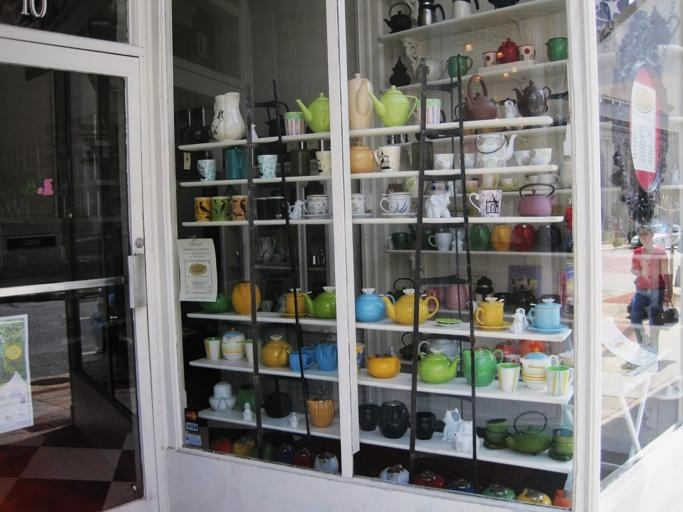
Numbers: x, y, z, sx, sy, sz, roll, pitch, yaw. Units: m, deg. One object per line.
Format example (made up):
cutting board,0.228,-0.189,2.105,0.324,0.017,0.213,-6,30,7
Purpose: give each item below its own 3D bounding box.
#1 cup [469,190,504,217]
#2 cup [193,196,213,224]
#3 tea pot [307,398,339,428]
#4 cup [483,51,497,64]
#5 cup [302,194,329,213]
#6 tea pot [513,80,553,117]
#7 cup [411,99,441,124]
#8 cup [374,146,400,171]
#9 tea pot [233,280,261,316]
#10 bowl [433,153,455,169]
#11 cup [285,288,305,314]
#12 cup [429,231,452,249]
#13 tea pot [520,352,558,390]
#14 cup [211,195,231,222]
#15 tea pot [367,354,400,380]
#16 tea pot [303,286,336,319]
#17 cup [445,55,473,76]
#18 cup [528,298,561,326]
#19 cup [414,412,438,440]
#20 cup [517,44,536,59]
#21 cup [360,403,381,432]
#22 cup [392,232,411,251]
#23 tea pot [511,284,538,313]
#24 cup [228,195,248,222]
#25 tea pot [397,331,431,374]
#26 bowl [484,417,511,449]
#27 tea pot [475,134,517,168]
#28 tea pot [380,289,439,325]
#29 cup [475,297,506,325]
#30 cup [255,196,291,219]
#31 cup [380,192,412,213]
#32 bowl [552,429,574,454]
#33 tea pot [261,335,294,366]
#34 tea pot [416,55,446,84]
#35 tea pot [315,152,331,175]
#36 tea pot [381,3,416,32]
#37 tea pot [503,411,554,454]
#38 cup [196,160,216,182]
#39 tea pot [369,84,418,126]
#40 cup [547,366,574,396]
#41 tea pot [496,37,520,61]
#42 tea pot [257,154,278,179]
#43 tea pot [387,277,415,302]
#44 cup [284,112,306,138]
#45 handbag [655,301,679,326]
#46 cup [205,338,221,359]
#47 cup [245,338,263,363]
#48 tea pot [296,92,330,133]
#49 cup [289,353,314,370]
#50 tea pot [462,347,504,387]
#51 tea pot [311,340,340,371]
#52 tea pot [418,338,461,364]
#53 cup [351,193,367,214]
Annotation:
cup,0.568,-0.215,2.199,0.110,0.096,0.077,-2,1,8
cup,-0.660,-0.221,2.615,0.098,0.162,0.096,1,5,0
tea pot,-0.087,0.675,2.393,0.123,0.124,0.112,0,0,18
cup,0.591,-0.809,2.252,0.043,0.042,0.051,0,-1,3
cup,-0.119,-0.228,2.392,0.083,0.071,0.072,1,5,13
tea pot,0.731,-0.584,2.189,0.167,0.169,0.107,5,8,36
cup,0.347,-0.605,2.329,0.092,0.116,0.103,-2,9,-12
cup,0.189,-0.420,2.345,0.068,0.090,0.109,-3,5,-36
tea pot,-0.459,0.193,2.549,0.141,0.201,0.140,0,0,0
bowl,0.408,-0.389,2.270,0.078,0.067,0.018,-2,4,9
cup,-0.214,0.209,2.512,0.081,0.109,0.106,0,-2,-2
cup,0.399,-0.067,2.284,0.077,0.063,0.052,0,-1,44
tea pot,0.747,0.444,2.150,0.133,0.156,0.097,1,1,16
cup,-0.569,-0.219,2.601,0.094,0.120,0.098,0,7,0
tea pot,0.171,0.472,2.360,0.108,0.069,0.095,-4,-3,17
tea pot,-0.091,0.210,2.461,0.145,0.117,0.103,3,1,22
cup,0.469,-0.784,2.271,0.093,0.085,0.076,2,0,-20
cup,0.767,0.215,2.119,0.078,0.101,0.104,1,-1,-40
cup,0.337,0.699,2.288,0.092,0.090,0.102,0,4,10
cup,0.714,-0.800,2.166,0.052,0.046,0.051,-1,2,0
cup,0.111,0.671,2.304,0.095,0.092,0.103,-1,4,0
cup,0.239,-0.065,2.344,0.066,0.061,0.065,-2,1,0
tea pot,0.697,0.170,2.170,0.090,0.110,0.073,-7,5,-35
cup,-0.479,-0.225,2.564,0.094,0.123,0.101,1,6,0
tea pot,0.271,0.397,2.239,0.161,0.184,0.106,-3,-3,38
bowl,0.612,0.699,2.211,0.094,0.100,0.106,-2,-7,31
tea pot,0.601,-0.379,2.200,0.166,0.146,0.110,2,2,40
tea pot,0.278,0.203,2.326,0.183,0.144,0.131,1,1,10
cup,0.589,0.228,2.281,0.114,0.133,0.075,-2,3,-6
cup,-0.317,-0.214,2.474,0.124,0.097,0.086,0,3,8
cup,0.216,-0.227,2.323,0.106,0.082,0.074,1,5,20
bowl,0.821,0.699,2.086,0.074,0.088,0.080,-1,3,0
tea pot,-0.298,0.429,2.544,0.137,0.110,0.107,1,0,29
tea pot,0.362,-0.779,2.308,0.108,0.129,0.090,7,9,-26
tea pot,-0.083,-0.409,2.439,0.079,0.098,0.082,-1,4,0
tea pot,0.234,-1.036,2.396,0.129,0.138,0.102,5,21,11
tea pot,0.741,0.690,2.204,0.143,0.147,0.144,-3,-3,0
cup,-0.640,-0.408,2.614,0.090,0.113,0.092,1,10,0
tea pot,0.205,-0.626,2.330,0.185,0.150,0.130,-1,8,-4
cup,0.809,0.475,2.105,0.103,0.103,0.072,-1,-3,-4
tea pot,0.651,-0.835,2.214,0.087,0.098,0.067,-12,18,-33
tea pot,-0.339,-0.403,2.488,0.078,0.109,0.102,-1,4,3
tea pot,0.235,0.140,2.362,0.070,0.127,0.117,2,-4,-9
cup,-0.213,-0.591,2.476,0.089,0.106,0.089,-1,8,0
handbag,1.427,0.258,2.471,0.108,0.106,0.049,-3,5,-38
cup,-0.612,0.434,2.623,0.081,0.103,0.093,1,0,-5
cup,-0.416,0.431,2.549,0.090,0.111,0.092,0,-4,0
tea pot,-0.112,-0.597,2.435,0.196,0.217,0.132,0,9,-4
cup,-0.184,0.465,2.447,0.093,0.072,0.064,2,1,16
tea pot,0.560,0.443,2.229,0.148,0.139,0.119,0,-3,0
tea pot,-0.077,0.433,2.401,0.106,0.114,0.112,0,-1,0
tea pot,0.397,0.392,2.269,0.131,0.063,0.082,-3,-6,18
cup,0.067,-0.229,2.417,0.071,0.086,0.062,-2,4,1
